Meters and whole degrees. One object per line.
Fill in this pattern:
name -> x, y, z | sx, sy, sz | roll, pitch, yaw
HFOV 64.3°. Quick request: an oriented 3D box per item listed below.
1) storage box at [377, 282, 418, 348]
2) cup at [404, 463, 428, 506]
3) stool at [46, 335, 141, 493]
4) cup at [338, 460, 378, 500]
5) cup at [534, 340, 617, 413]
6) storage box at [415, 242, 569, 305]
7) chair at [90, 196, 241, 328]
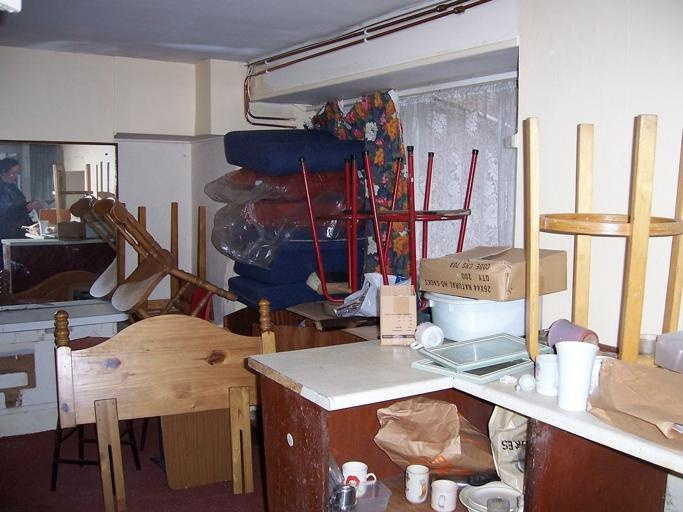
storage box -> 0.225, 0.232, 2.281 | 0.188, 0.354, 0.245 | 2, -1, 3
cup -> 0.270, 0.821, 1.938 | 0.074, 0.109, 0.120 | 1, 5, 6
stool -> -1.457, 0.839, 3.180 | 0.486, 0.866, 0.931 | -5, 7, -25
cup -> 0.059, 0.813, 1.962 | 0.122, 0.091, 0.079 | 3, -2, 34
cup -> 0.641, 0.341, 1.535 | 0.210, 0.210, 0.143 | 2, 0, -11
storage box -> 0.542, 0.070, 2.058 | 0.306, 0.131, 0.288 | -6, 8, -43
chair -> -1.168, 0.041, 3.420 | 0.655, 0.834, 1.336 | -5, 6, -24
